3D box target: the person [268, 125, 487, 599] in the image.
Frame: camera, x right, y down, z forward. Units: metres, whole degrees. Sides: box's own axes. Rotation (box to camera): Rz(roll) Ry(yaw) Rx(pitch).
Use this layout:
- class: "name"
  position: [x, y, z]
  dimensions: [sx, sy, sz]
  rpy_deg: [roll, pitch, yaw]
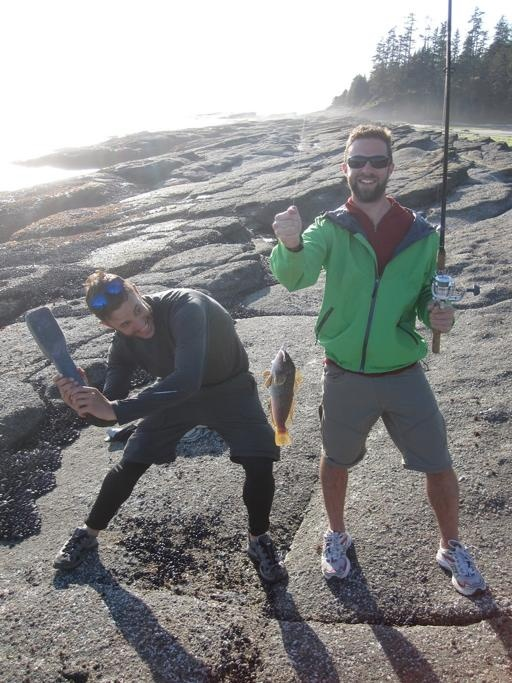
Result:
- class: "person"
  position: [0.512, 0.092, 2.742]
  dimensions: [0.761, 2.021, 0.907]
  rpy_deg: [-7, 23, 6]

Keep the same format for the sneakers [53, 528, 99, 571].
- class: "sneakers"
  position: [-0.903, 1.061, 3.151]
  dimensions: [0.112, 0.139, 0.292]
  rpy_deg: [38, 29, 2]

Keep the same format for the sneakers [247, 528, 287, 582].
- class: "sneakers"
  position: [0.030, 1.040, 2.975]
  dimensions: [0.124, 0.130, 0.281]
  rpy_deg: [-16, 41, -21]

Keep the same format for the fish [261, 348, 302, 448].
- class: "fish"
  position: [0.098, 0.254, 2.821]
  dimensions: [0.286, 0.453, 0.160]
  rpy_deg: [2, 1, -6]

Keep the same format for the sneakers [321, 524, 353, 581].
- class: "sneakers"
  position: [0.385, 1.024, 2.886]
  dimensions: [0.116, 0.113, 0.269]
  rpy_deg: [-1, 16, 7]

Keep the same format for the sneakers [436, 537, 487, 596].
- class: "sneakers"
  position: [0.903, 1.007, 2.746]
  dimensions: [0.131, 0.127, 0.278]
  rpy_deg: [-21, 24, -10]

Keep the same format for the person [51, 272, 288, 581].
- class: "person"
  position: [-0.516, 0.406, 2.992]
  dimensions: [1.167, 1.447, 0.866]
  rpy_deg: [-5, 7, -14]

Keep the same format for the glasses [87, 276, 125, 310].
- class: "glasses"
  position: [-0.669, -0.209, 2.698]
  dimensions: [0.142, 0.059, 0.160]
  rpy_deg: [-35, 15, -11]
